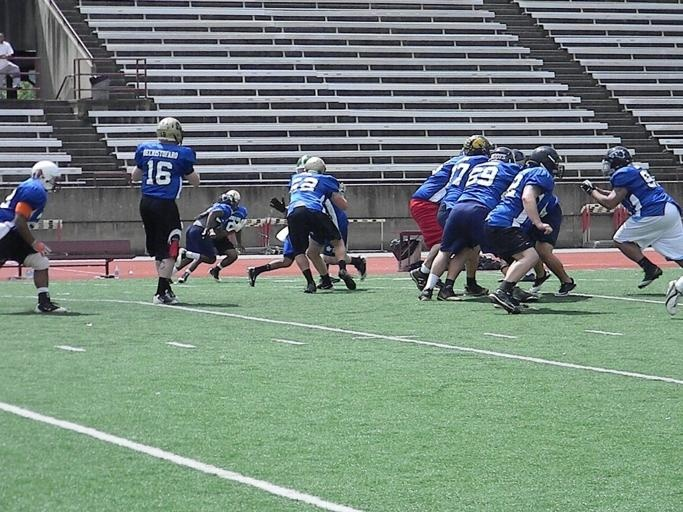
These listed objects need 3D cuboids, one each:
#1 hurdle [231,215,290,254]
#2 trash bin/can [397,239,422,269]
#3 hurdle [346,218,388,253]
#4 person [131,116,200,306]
[{"bbox_3d":[-1.628,-0.528,24.253,1.588,0.831,0.591,-5,12,-21],"label":"hurdle"},{"bbox_3d":[1.094,-0.036,18.138,0.429,0.490,0.448,11,19,33],"label":"trash bin/can"},{"bbox_3d":[0.536,-0.455,25.714,1.458,0.729,0.700,0,-1,-12],"label":"hurdle"},{"bbox_3d":[-2.136,-0.501,13.467,0.782,2.321,0.678,7,9,-39],"label":"person"}]
